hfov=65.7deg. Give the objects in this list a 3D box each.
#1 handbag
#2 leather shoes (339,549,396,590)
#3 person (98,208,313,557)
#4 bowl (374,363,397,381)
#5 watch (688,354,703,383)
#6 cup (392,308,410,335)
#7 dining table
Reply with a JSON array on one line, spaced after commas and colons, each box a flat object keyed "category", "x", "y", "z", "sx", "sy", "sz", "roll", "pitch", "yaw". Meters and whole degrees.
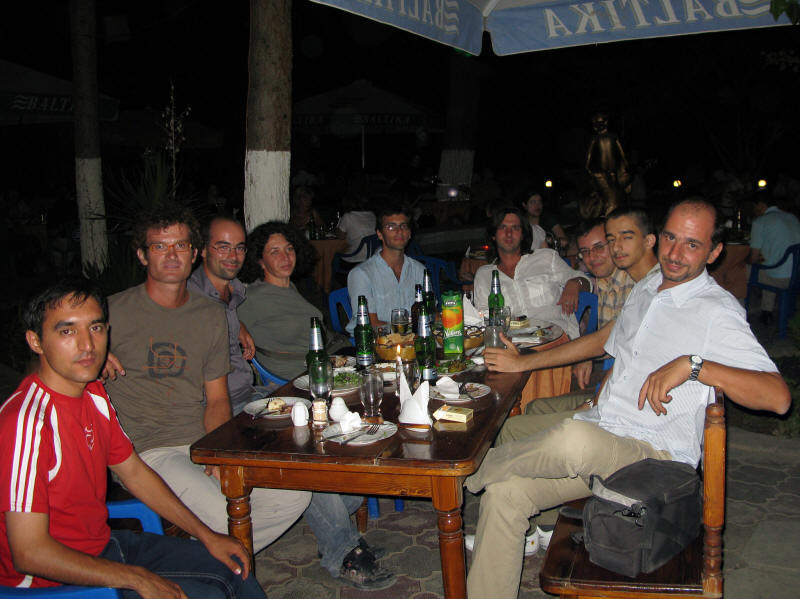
[{"category": "handbag", "x": 1.076, "y": 0.910, "z": 2.719, "sx": 0.552, "sy": 0.339, "sz": 0.365, "roll": -17, "pitch": 13, "yaw": -30}, {"category": "leather shoes", "x": -0.180, "y": 1.604, "z": 3.626, "sx": 0.238, "sy": 0.095, "sz": 0.228, "roll": 6, "pitch": 2, "yaw": -11}, {"category": "person", "x": -1.053, "y": 0.497, "z": 3.360, "sx": 1.116, "sy": 1.901, "sz": 0.852, "roll": 4, "pitch": 10, "yaw": 23}, {"category": "bowl", "x": -0.075, "y": 0.414, "z": 3.513, "sx": 0.088, "sy": 0.041, "sz": 0.089, "roll": 1, "pitch": 7, "yaw": 0}, {"category": "watch", "x": 1.293, "y": 0.315, "z": 2.731, "sx": 0.060, "sy": 0.101, "sz": 0.096, "roll": 4, "pitch": 27, "yaw": 19}, {"category": "cup", "x": -0.012, "y": 0.148, "z": 4.166, "sx": 0.146, "sy": 0.193, "sz": 0.142, "roll": 2, "pitch": -2, "yaw": 0}, {"category": "dining table", "x": -0.200, "y": 0.584, "z": 2.897, "sx": 0.892, "sy": 0.661, "sz": 1.231, "roll": 2, "pitch": 11, "yaw": 13}]
